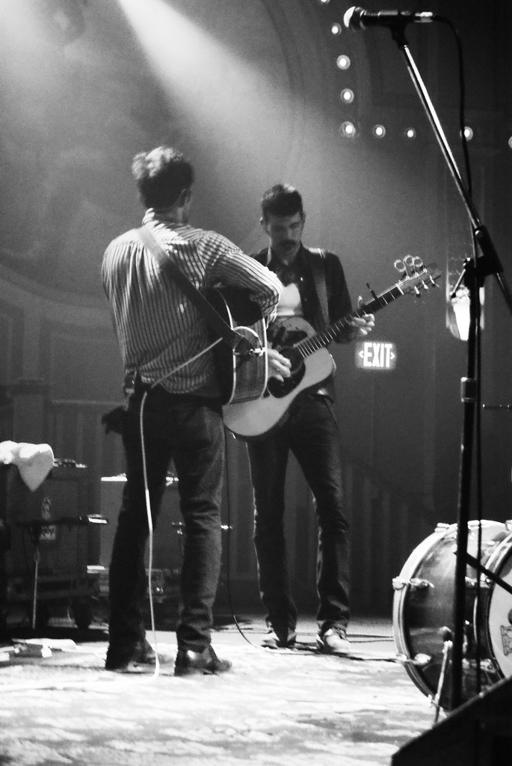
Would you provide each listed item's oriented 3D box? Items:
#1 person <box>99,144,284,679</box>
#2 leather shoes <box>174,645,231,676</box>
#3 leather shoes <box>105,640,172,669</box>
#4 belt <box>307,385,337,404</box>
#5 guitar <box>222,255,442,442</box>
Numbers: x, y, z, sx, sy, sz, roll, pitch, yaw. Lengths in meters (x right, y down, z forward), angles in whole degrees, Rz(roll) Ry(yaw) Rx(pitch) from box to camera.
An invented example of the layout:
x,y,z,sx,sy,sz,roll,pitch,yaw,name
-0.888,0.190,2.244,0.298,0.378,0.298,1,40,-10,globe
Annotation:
x,y,z,sx,sy,sz,roll,pitch,yaw,name
-0.274,0.040,3.068,0.626,1.948,0.396,1,-1,-9,person
-0.185,0.970,2.929,0.209,0.109,0.080,1,-8,-18,leather shoes
-0.432,0.958,2.905,0.138,0.040,0.106,-1,5,2,leather shoes
0.263,0.034,3.260,0.111,0.060,0.016,37,-4,-31,belt
0.171,-0.081,3.268,1.150,0.452,0.139,-37,7,-13,guitar
